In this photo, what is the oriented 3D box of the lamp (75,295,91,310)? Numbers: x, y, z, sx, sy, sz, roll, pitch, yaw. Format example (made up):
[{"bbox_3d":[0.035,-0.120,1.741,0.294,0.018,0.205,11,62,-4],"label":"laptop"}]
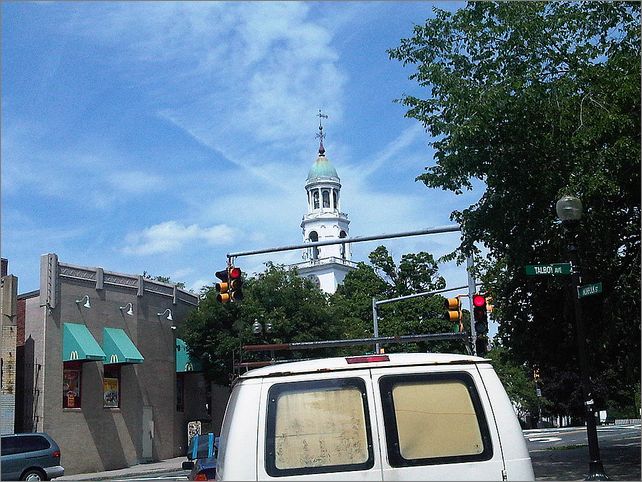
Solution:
[{"bbox_3d":[-10.991,2.864,40.048,0.180,0.604,0.903,-8,0,25],"label":"lamp"}]

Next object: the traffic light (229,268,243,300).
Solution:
[{"bbox_3d":[-2.760,1.408,28.082,0.407,1.094,1.165,-8,0,-7],"label":"traffic light"}]

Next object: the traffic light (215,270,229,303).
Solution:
[{"bbox_3d":[-3.169,1.493,27.973,0.477,1.119,1.075,-8,0,-7],"label":"traffic light"}]

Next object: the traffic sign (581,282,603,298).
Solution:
[{"bbox_3d":[6.760,1.233,21.704,0.539,0.365,0.960,-8,-1,19],"label":"traffic sign"}]

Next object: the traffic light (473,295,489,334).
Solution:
[{"bbox_3d":[5.019,2.362,27.209,0.409,1.264,0.566,-8,0,9],"label":"traffic light"}]

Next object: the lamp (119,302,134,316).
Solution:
[{"bbox_3d":[-9.465,3.398,42.278,0.237,0.654,1.011,-8,0,23],"label":"lamp"}]
